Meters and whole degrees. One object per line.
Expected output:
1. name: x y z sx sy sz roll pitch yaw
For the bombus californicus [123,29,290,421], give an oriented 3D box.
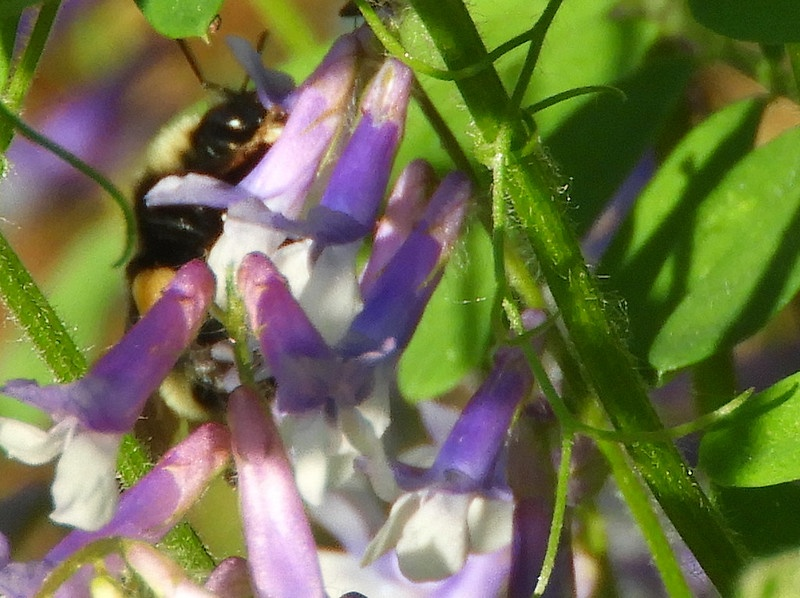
1. bombus californicus: -0.179 -0.062 1.005 0.118 0.427 0.111 3 0 38
